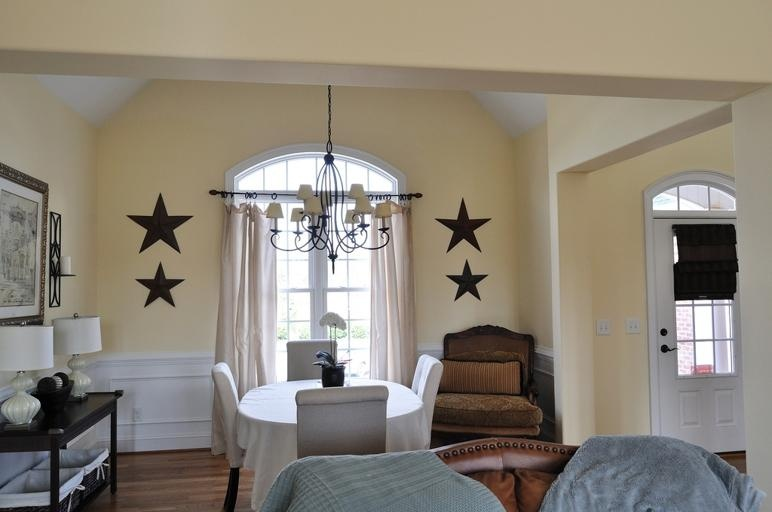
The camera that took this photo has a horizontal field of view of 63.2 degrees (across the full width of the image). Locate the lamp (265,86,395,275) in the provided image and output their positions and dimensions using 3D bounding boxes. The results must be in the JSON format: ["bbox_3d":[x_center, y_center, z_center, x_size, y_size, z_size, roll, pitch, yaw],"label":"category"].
[{"bbox_3d":[-0.523,-0.778,5.818,1.082,1.733,1.198,-3,-3,30],"label":"lamp"}]

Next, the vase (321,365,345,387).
[{"bbox_3d":[-0.432,0.975,5.130,0.162,0.170,0.169,1,-4,8],"label":"vase"}]

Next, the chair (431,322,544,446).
[{"bbox_3d":[1.037,1.313,6.424,1.105,1.374,0.990,-1,-21,8],"label":"chair"}]

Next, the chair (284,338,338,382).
[{"bbox_3d":[-0.731,0.957,5.911,0.365,0.419,0.386,-1,-6,3],"label":"chair"}]

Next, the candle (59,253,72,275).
[{"bbox_3d":[-2.866,0.085,5.654,0.091,0.181,0.267,2,-5,-14],"label":"candle"}]

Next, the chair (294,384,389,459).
[{"bbox_3d":[-0.309,1.114,4.601,0.506,0.792,0.548,1,-1,-5],"label":"chair"}]

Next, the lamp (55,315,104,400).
[{"bbox_3d":[-2.672,0.846,5.391,0.361,0.685,0.682,3,-6,-26],"label":"lamp"}]
